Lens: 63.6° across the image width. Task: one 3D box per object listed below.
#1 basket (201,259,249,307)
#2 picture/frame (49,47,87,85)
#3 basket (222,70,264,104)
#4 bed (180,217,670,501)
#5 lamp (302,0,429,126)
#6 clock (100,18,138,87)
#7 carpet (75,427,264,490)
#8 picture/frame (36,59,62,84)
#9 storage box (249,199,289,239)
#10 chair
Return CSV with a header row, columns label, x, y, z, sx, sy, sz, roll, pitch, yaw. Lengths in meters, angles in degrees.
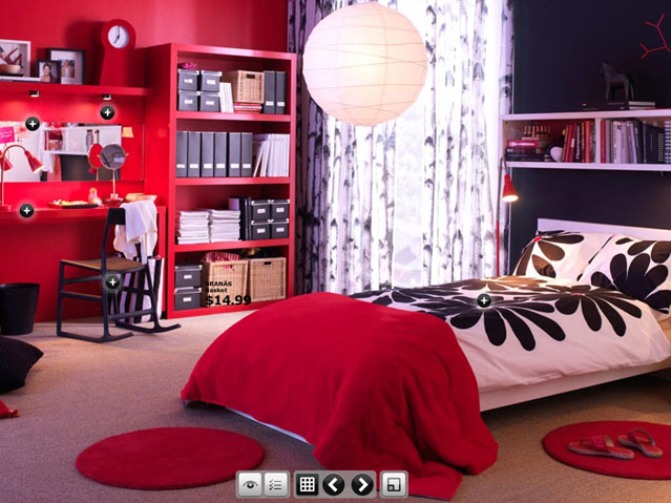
label,x,y,z,sx,sy,sz,roll,pitch,yaw
basket,-1.047,0.231,5.366,0.502,0.545,0.373,-1,2,-42
picture/frame,-2.340,-1.622,4.704,0.030,0.454,0.359,2,4,44
basket,-0.893,-1.544,5.333,0.327,0.343,0.321,-2,3,-44
bed,0.577,0.592,2.940,2.406,0.651,1.321,-3,5,-27
lamp,0.135,-0.955,3.053,0.576,0.866,0.624,1,4,-4
clock,-1.955,-1.768,4.843,0.112,0.574,0.299,3,5,41
carpet,-0.731,0.925,2.437,0.824,0.054,0.589,-1,5,-13
picture/frame,-2.455,-1.536,4.609,0.219,0.261,0.039,-3,6,-36
storage box,-0.651,-0.336,5.457,0.419,0.446,0.348,-2,2,-38
chair,-1.922,0.142,4.611,1.027,1.058,0.849,3,5,35
